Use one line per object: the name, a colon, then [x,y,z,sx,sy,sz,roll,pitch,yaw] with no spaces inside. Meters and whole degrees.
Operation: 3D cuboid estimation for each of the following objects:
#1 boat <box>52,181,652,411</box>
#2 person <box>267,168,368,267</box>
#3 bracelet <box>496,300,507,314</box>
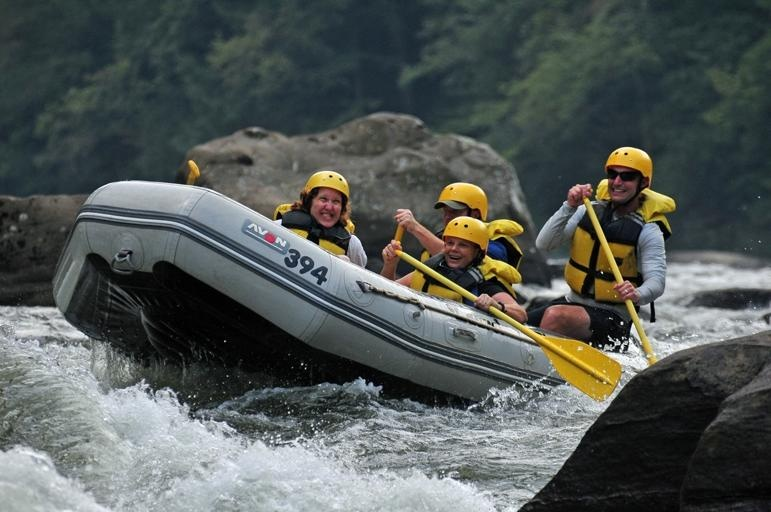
boat: [-1.458,0.825,24.372,8.164,1.665,4.854,20,-8,-18]
person: [-1.322,-0.623,25.388,1.593,1.852,0.742,23,-18,-18]
bracelet: [2.135,0.941,24.617,0.203,0.078,0.147,37,6,4]
